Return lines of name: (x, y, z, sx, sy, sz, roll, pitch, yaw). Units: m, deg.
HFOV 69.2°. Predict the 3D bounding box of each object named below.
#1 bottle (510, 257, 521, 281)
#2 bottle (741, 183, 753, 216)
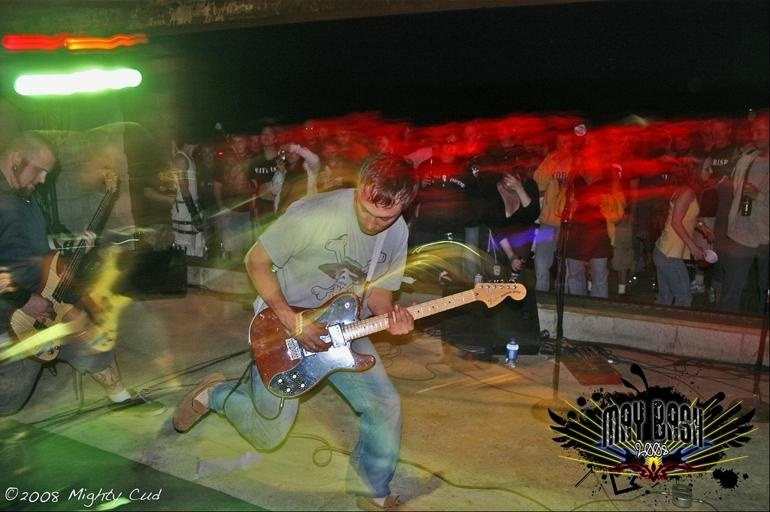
bottle: (1.979, 0.175, 8.341, 0.173, 0.348, 0.154, 0, 9, 7)
bottle: (5.080, -0.800, 7.820, 0.050, 0.416, 0.138, -6, 11, -28)
